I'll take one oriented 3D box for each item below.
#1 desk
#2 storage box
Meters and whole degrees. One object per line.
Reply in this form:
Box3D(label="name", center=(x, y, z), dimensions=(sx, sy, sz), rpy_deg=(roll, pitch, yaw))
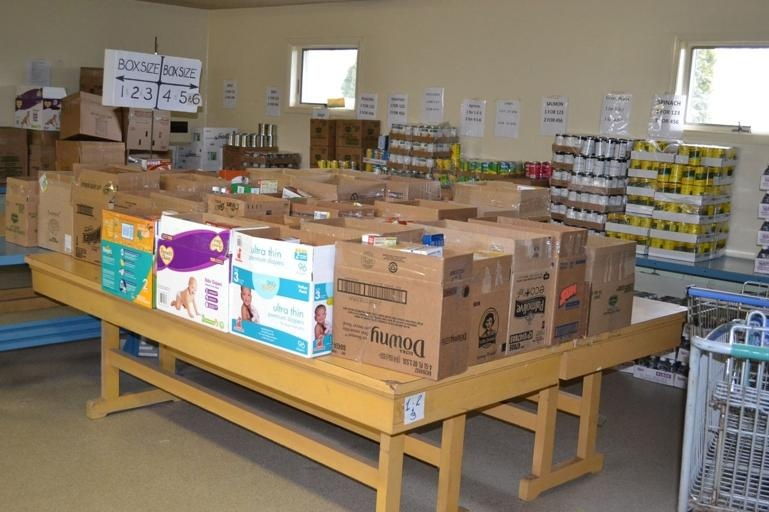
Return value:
Box3D(label="desk", center=(-0.251, 0.812, 3.715), dimensions=(3.743, 1.163, 1.753), rpy_deg=(8, 15, 19))
Box3D(label="storage box", center=(-0.432, -0.302, 4.384), dimensions=(3.175, 0.651, 2.134), rpy_deg=(13, 17, 37))
